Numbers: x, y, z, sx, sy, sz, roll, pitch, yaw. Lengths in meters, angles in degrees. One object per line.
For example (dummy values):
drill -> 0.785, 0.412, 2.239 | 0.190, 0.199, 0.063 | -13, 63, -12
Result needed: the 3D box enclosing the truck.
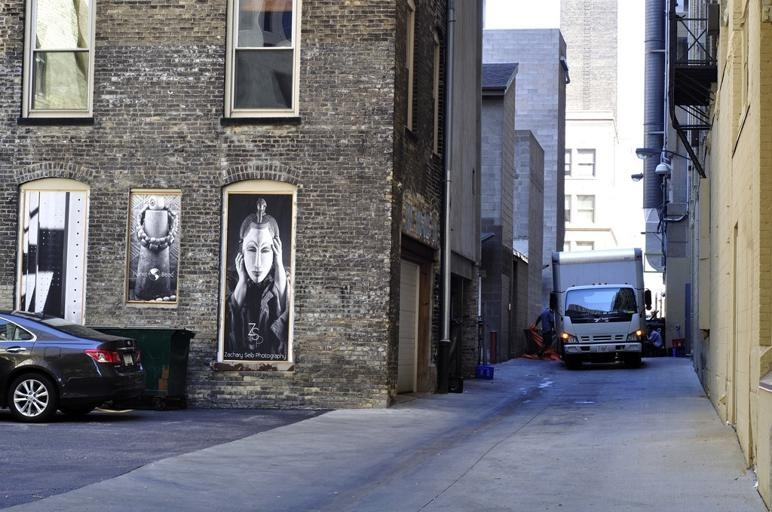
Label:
truck -> 7.728, 1.330, 43.924 | 3.333, 3.851, 6.713 | -3, 10, 8
